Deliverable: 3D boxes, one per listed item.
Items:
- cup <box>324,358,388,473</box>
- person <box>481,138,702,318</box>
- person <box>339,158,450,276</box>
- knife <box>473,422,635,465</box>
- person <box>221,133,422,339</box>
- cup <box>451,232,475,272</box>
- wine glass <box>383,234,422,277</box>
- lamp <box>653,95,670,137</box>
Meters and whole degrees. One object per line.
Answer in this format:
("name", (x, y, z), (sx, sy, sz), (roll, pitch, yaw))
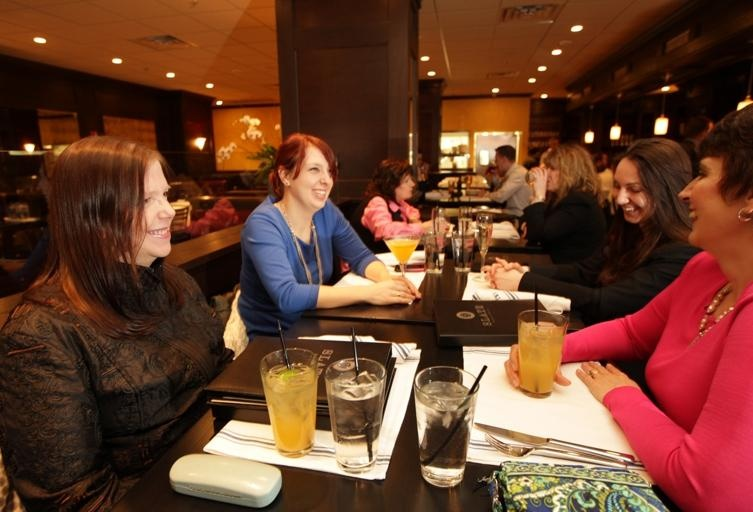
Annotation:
("cup", (-0.054, 0.397, 1.262), (0.146, 0.245, 0.158), (-1, 13, 0))
("person", (1.114, -0.091, 2.296), (0.937, 0.730, 0.603), (-2, 14, 11))
("person", (0.133, -0.125, 3.968), (0.663, 1.244, 0.628), (7, 11, -3))
("knife", (0.385, 0.478, 1.277), (0.516, 0.042, 0.120), (4, 12, 8))
("person", (-0.281, -0.123, 2.386), (0.915, 0.886, 0.700), (13, 23, 22))
("cup", (0.452, -0.030, 2.509), (0.138, 0.194, 0.135), (1, 3, 0))
("wine glass", (0.130, 0.037, 2.389), (0.179, 0.216, 0.177), (3, -9, -19))
("lamp", (4.688, -2.285, 8.052), (0.223, 0.662, 0.219), (7, 1, 1))
